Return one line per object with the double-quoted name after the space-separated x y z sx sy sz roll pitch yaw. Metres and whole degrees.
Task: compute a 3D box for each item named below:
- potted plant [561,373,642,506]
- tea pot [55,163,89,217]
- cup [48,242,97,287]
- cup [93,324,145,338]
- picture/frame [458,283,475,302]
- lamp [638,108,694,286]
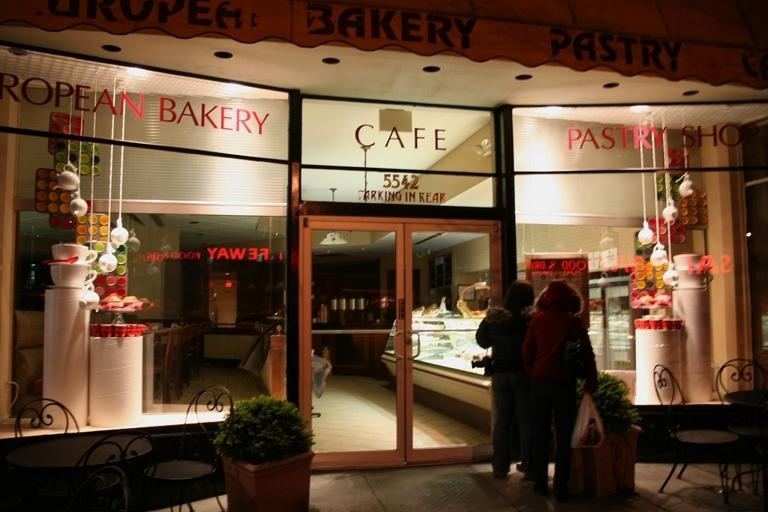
2.531 2.053 7.806 1.392 1.442 1.072 0 -2 3 "potted plant"
-3.511 -0.739 7.484 0.330 0.611 0.151 1 -4 -25 "tea pot"
-3.428 0.110 7.226 0.487 0.380 0.432 -2 -5 44 "cup"
-2.928 0.828 7.343 0.586 0.153 0.146 1 -4 -29 "cup"
1.036 0.468 8.490 0.209 0.183 0.017 1 -4 -21 "picture/frame"
3.793 -0.723 8.947 0.758 2.297 0.354 -1 -4 0 "lamp"
